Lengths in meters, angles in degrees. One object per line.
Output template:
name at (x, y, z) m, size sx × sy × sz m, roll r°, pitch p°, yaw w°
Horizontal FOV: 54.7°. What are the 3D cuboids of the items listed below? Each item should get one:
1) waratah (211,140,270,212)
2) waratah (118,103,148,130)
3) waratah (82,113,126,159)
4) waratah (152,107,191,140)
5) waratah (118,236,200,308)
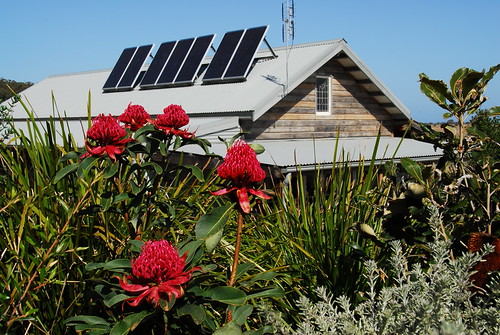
waratah at (-0.093, -0.005, 4.221) m, size 0.449 × 0.513 × 0.528 m, roll 14°, pitch 27°, yaw 13°
waratah at (-1.168, -0.483, 4.920) m, size 0.263 × 0.277 × 0.283 m, roll -21°, pitch -23°, yaw 39°
waratah at (-1.336, -0.317, 4.657) m, size 0.358 × 0.447 × 0.372 m, roll 1°, pitch 10°, yaw 5°
waratah at (-0.780, -0.492, 4.863) m, size 0.307 × 0.339 × 0.321 m, roll -2°, pitch 21°, yaw -19°
waratah at (-0.751, 0.861, 4.015) m, size 0.528 × 0.362 × 0.568 m, roll -2°, pitch 24°, yaw 15°
